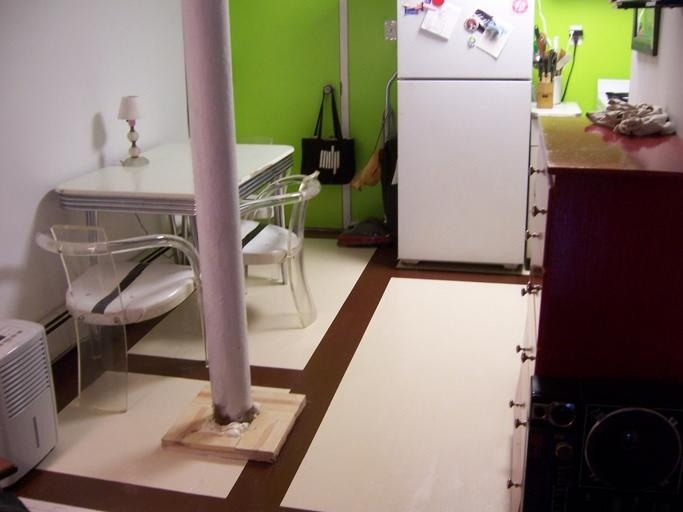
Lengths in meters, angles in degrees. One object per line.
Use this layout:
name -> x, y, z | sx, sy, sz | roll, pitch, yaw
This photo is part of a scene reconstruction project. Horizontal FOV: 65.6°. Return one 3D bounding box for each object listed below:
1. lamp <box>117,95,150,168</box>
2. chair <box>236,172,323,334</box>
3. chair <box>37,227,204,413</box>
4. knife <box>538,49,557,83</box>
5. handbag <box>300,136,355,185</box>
lamp -> -1.299, -0.779, 3.291 | 0.165, 0.403, 0.172 | -1, 13, -7
chair -> -0.480, -0.037, 3.328 | 0.534, 0.840, 0.627 | 1, 19, 2
chair -> -1.159, 0.257, 2.799 | 0.683, 0.939, 0.647 | 5, 23, 9
knife -> 1.467, -1.353, 3.767 | 0.126, 0.205, 0.110 | 4, 16, 20
handbag -> -0.108, -0.792, 4.392 | 0.499, 0.521, 0.207 | 4, 26, 9
